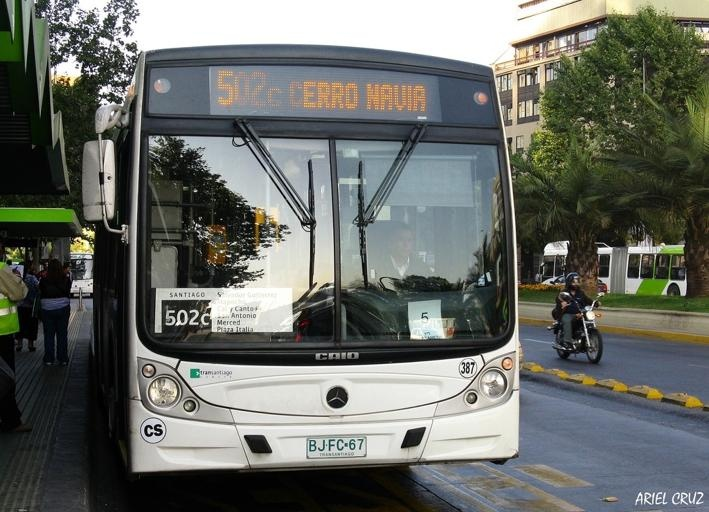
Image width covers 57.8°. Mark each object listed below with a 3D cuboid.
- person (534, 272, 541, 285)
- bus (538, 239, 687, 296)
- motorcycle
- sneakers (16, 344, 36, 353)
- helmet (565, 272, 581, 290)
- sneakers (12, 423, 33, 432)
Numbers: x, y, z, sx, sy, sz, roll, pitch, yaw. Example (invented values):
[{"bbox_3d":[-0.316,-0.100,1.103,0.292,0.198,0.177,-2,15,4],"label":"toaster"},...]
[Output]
[{"bbox_3d":[16.245,2.008,57.063,0.258,0.898,0.647,7,24,18],"label":"person"},{"bbox_3d":[16.310,0.667,39.166,3.256,4.116,13.012,0,1,-20],"label":"bus"},{"bbox_3d":[5.385,1.757,15.362,0.793,1.510,1.749,1,-2,-9],"label":"motorcycle"},{"bbox_3d":[-8.005,2.247,15.521,0.537,0.236,0.200,-3,-2,24],"label":"sneakers"},{"bbox_3d":[5.271,0.614,15.543,0.353,0.453,0.415,1,-11,-27],"label":"helmet"},{"bbox_3d":[-3.827,1.977,7.443,0.175,0.074,0.179,0,-2,30],"label":"sneakers"}]
